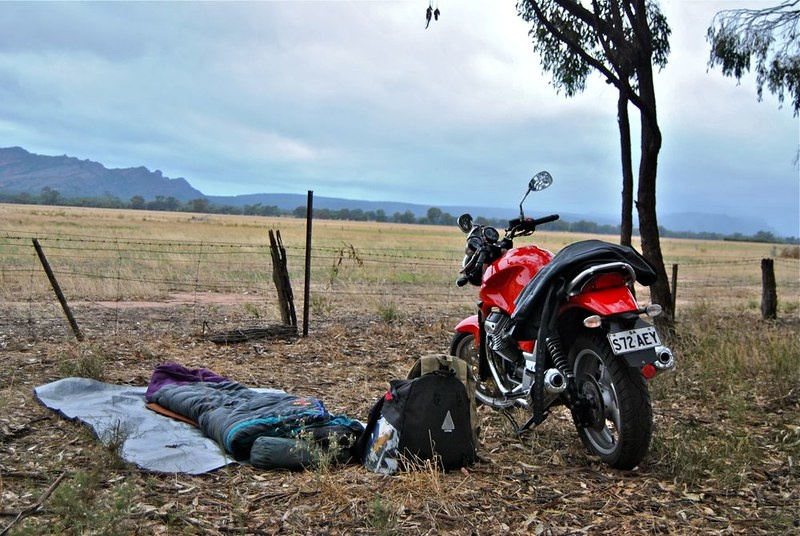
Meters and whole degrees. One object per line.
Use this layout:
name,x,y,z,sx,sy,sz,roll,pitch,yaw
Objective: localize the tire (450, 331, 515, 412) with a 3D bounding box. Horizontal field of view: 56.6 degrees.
tire,1.023,1.304,9.691,0.820,0.276,0.916,17,-8,31
